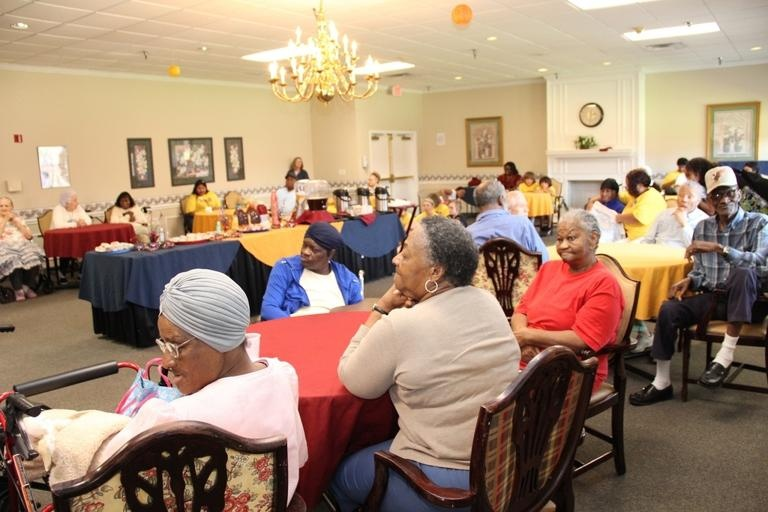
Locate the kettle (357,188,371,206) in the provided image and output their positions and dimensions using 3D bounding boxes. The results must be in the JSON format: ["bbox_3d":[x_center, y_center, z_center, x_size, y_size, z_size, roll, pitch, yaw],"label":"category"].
[{"bbox_3d":[-0.304,-0.862,7.717,0.173,0.242,0.374,-3,8,-5],"label":"kettle"}]

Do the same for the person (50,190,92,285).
[{"bbox_3d":[-4.832,-0.351,8.061,0.612,1.250,0.610,9,14,-4],"label":"person"}]

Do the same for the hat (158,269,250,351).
[{"bbox_3d":[-0.601,0.134,1.825,0.310,0.270,0.315,2,-33,-14],"label":"hat"}]

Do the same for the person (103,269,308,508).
[{"bbox_3d":[-0.725,0.531,2.198,0.532,0.860,0.902,10,11,28],"label":"person"}]

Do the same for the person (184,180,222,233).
[{"bbox_3d":[-3.500,-0.858,10.297,0.646,1.096,0.571,-5,20,-21],"label":"person"}]

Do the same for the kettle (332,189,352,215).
[{"bbox_3d":[-0.580,-0.775,7.596,0.331,0.507,0.290,-1,5,3],"label":"kettle"}]

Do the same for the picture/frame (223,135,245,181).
[{"bbox_3d":[-3.176,-2.055,11.267,0.041,0.914,0.485,5,12,40],"label":"picture/frame"}]

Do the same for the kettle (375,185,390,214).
[{"bbox_3d":[-0.040,-0.861,8.020,0.299,0.498,0.333,-2,4,0],"label":"kettle"}]

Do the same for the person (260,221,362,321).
[{"bbox_3d":[-0.452,0.184,3.666,0.653,0.799,0.514,6,18,-16],"label":"person"}]

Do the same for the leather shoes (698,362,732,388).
[{"bbox_3d":[2.312,0.827,3.733,0.194,0.170,0.120,-7,10,-28],"label":"leather shoes"}]

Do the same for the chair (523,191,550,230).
[{"bbox_3d":[3.071,-0.945,10.747,0.760,0.765,0.761,-1,9,-7],"label":"chair"}]

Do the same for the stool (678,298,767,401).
[{"bbox_3d":[2.578,0.635,4.001,0.567,0.781,0.930,3,10,32],"label":"stool"}]

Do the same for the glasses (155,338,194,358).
[{"bbox_3d":[-0.747,0.338,1.933,0.089,0.030,0.091,6,2,40],"label":"glasses"}]

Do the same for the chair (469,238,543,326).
[{"bbox_3d":[0.897,0.179,3.878,0.526,0.955,0.599,1,3,8],"label":"chair"}]

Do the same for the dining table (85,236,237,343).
[{"bbox_3d":[-2.545,0.325,5.851,0.805,0.751,1.447,-1,8,18],"label":"dining table"}]

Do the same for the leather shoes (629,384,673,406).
[{"bbox_3d":[1.960,1.021,3.937,0.306,0.123,0.142,-3,-2,-9],"label":"leather shoes"}]

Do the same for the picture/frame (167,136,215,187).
[{"bbox_3d":[-3.860,-1.878,10.480,0.069,0.954,1.011,5,12,37],"label":"picture/frame"}]

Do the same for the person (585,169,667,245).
[{"bbox_3d":[2.461,-0.438,5.627,0.648,0.912,0.425,-17,24,30],"label":"person"}]

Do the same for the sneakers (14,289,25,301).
[{"bbox_3d":[-4.883,0.509,7.112,0.121,0.144,0.184,-9,10,-36],"label":"sneakers"}]
